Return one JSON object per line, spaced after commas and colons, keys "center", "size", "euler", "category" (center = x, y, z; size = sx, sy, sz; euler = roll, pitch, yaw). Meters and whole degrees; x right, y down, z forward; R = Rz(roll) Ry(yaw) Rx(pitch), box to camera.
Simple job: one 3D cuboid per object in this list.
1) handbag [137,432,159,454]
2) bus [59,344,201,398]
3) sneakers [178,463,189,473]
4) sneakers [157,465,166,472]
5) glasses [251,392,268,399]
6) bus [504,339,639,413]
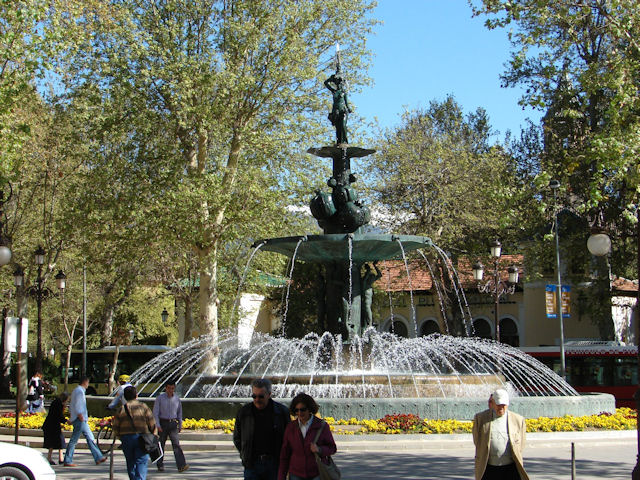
{"center": [-3.127, 3.697, 15.841], "size": [0.278, 0.368, 0.153], "euler": [-8, -14, -25], "category": "handbag"}
{"center": [-11.212, 8.193, 52.556], "size": [8.538, 4.156, 2.621], "euler": [-4, 1, 18], "category": "bus"}
{"center": [-2.877, 4.811, 18.252], "size": [0.098, 0.120, 0.274], "euler": [8, -27, -32], "category": "sneakers"}
{"center": [-3.414, 4.864, 18.477], "size": [0.214, 0.141, 0.082], "euler": [-6, -8, 33], "category": "sneakers"}
{"center": [-0.971, 2.423, 13.471], "size": [0.270, 0.100, 0.135], "euler": [-10, -11, 28], "category": "glasses"}
{"center": [12.834, 6.116, 39.221], "size": [2.949, 3.000, 1.192], "euler": [-7, -9, 14], "category": "bus"}
